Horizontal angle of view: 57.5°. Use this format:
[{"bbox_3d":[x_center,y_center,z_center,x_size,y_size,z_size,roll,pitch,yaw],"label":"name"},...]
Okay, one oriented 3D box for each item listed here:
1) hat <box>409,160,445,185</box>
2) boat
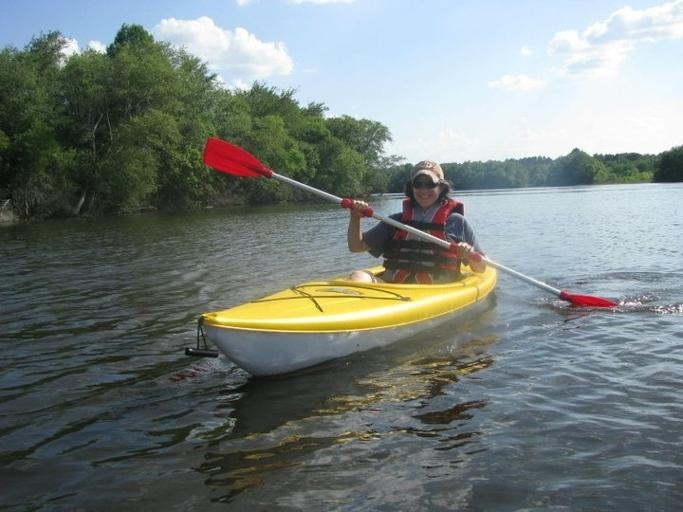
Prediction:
[{"bbox_3d":[0.817,-0.864,6.365,0.343,0.229,0.423,-1,11,7],"label":"hat"},{"bbox_3d":[0.172,0.457,5.716,2.965,0.404,0.839,-6,6,-43],"label":"boat"}]
